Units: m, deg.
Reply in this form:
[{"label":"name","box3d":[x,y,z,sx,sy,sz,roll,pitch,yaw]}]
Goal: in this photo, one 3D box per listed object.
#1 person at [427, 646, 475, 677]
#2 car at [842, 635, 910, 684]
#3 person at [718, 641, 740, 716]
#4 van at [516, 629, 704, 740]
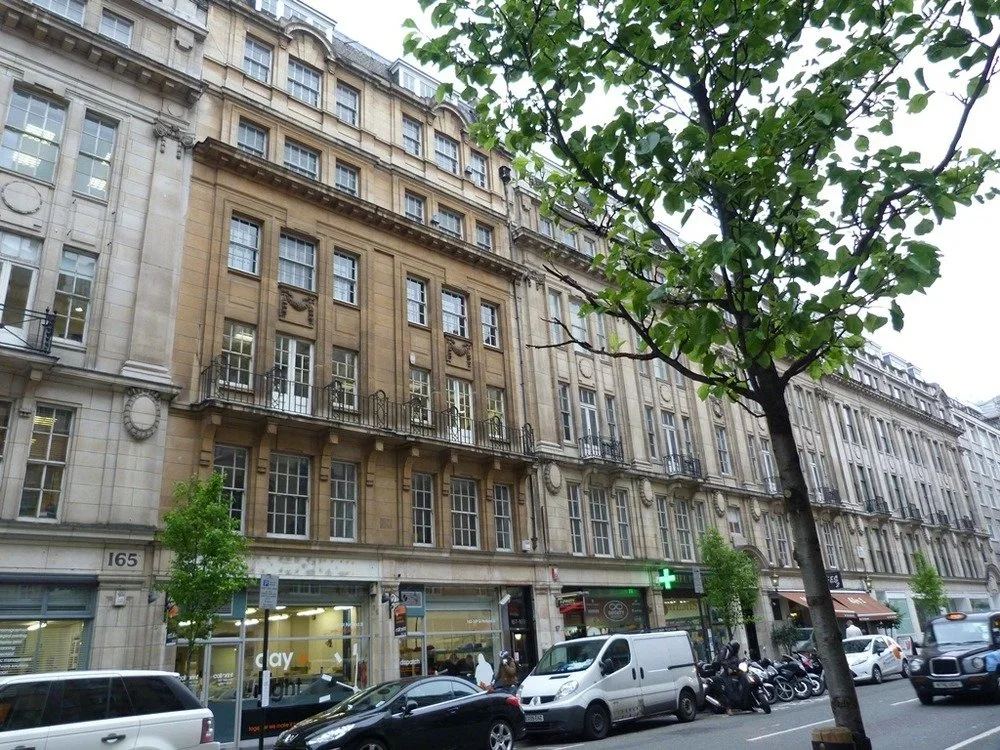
[{"label":"person","box3d":[-1.533,9.741,22.958,0.901,0.969,1.871,-25,-29,37]},{"label":"car","box3d":[15.082,11.365,26.782,1.258,1.710,4.702,-23,-28,35]},{"label":"person","box3d":[7.069,9.164,20.246,0.721,1.921,1.196,-11,-23,13]},{"label":"van","box3d":[2.740,8.292,18.113,5.058,2.159,2.653,20,-35,-36]}]
